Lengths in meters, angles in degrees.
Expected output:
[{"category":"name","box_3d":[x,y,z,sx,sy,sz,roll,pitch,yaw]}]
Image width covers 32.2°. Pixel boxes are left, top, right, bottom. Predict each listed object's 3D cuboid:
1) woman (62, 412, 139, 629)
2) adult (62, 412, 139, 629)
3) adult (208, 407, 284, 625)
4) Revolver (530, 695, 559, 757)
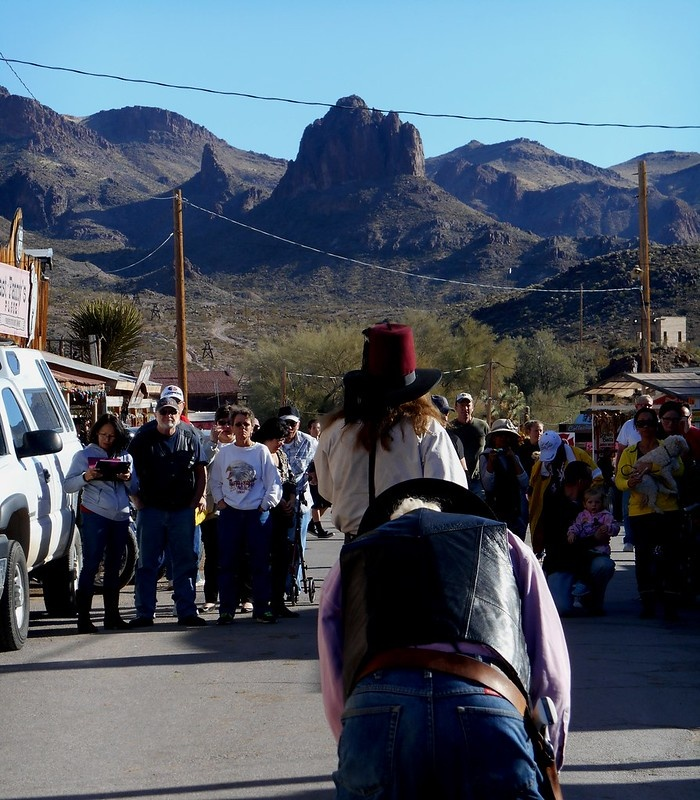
[{"category":"woman","box_3d":[-1.934,0.940,9.479,0.503,1.702,0.560,-2,-4,-12]},{"category":"adult","box_3d":[-1.936,0.941,9.490,0.503,1.702,0.581,-2,-4,-12]},{"category":"adult","box_3d":[-0.864,0.948,9.852,0.494,1.751,0.383,-1,-4,10]},{"category":"Revolver","box_3d":[0.636,1.051,3.935,0.053,0.182,0.089,-6,-2,30]}]
